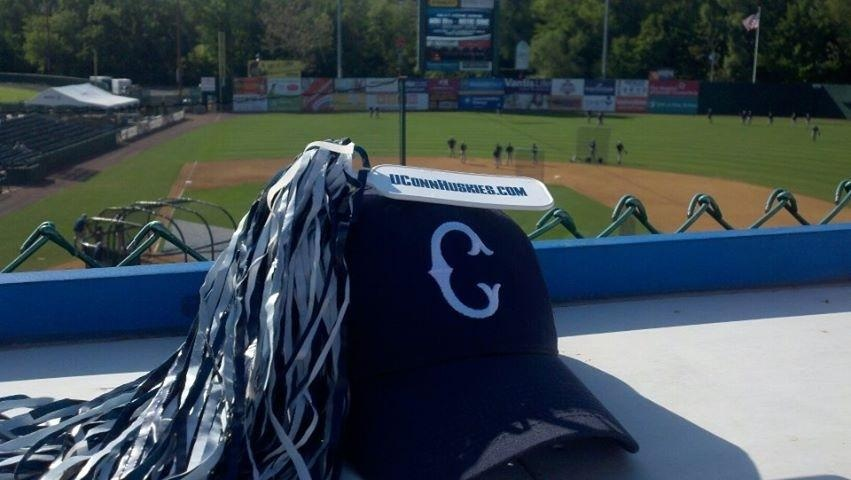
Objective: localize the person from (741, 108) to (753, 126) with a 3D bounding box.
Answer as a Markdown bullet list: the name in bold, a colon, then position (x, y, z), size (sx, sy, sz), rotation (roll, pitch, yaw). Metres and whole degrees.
- **person**: position (15.808, -5.980, 47.694), size (0.583, 0.619, 1.047), rotation (-4, 40, 13)

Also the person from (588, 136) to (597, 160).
- **person**: position (7.063, -3.765, 41.062), size (0.482, 0.910, 0.285), rotation (-3, -24, -1)

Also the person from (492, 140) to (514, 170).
- **person**: position (2.963, -3.352, 37.347), size (0.617, 0.434, 1.136), rotation (0, 45, -1)

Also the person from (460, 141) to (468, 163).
- **person**: position (1.493, -3.517, 38.093), size (0.331, 0.716, 0.849), rotation (1, 19, 2)

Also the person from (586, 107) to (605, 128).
- **person**: position (8.081, -5.911, 46.268), size (0.724, 0.503, 1.255), rotation (-1, 21, 1)
